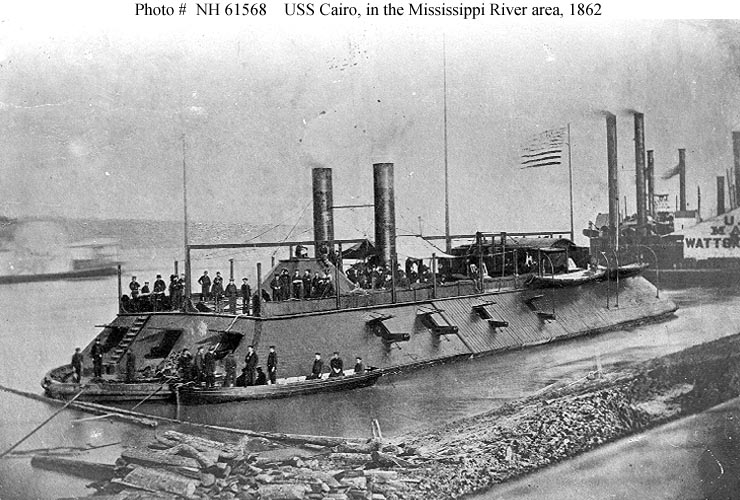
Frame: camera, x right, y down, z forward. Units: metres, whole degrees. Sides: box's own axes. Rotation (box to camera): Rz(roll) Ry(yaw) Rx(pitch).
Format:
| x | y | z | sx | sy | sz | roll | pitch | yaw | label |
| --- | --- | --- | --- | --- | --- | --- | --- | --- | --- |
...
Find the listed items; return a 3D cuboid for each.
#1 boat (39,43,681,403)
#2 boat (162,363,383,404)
| x | y | z | sx | sy | sz | roll | pitch | yaw | label |
| --- | --- | --- | --- | --- | --- | --- | --- | --- | --- |
| 0.606 | -0.105 | 17.102 | 13.347 | 5.344 | 4.415 | 1 | -1 | -41 | boat |
| -1.504 | 2.163 | 14.121 | 3.201 | 0.297 | 0.378 | -2 | -2 | -11 | boat |
